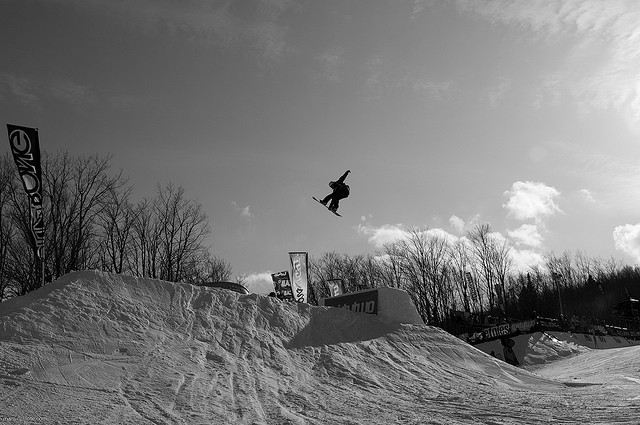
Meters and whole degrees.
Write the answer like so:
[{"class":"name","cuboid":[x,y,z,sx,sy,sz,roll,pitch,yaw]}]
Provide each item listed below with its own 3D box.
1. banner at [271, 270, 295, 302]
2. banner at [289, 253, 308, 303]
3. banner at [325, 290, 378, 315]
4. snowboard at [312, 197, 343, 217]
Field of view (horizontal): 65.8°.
[{"class":"banner","cuboid":[-2.167,4.416,29.804,1.227,1.711,1.458,1,-6,-11]},{"class":"banner","cuboid":[-1.358,4.144,30.958,1.287,4.518,0.112,10,-55,-12]},{"class":"banner","cuboid":[1.846,4.815,26.834,2.660,1.261,0.500,-3,-7,22]},{"class":"snowboard","cuboid":[0.535,-0.176,23.942,0.227,0.516,3.757,16,6,-17]}]
